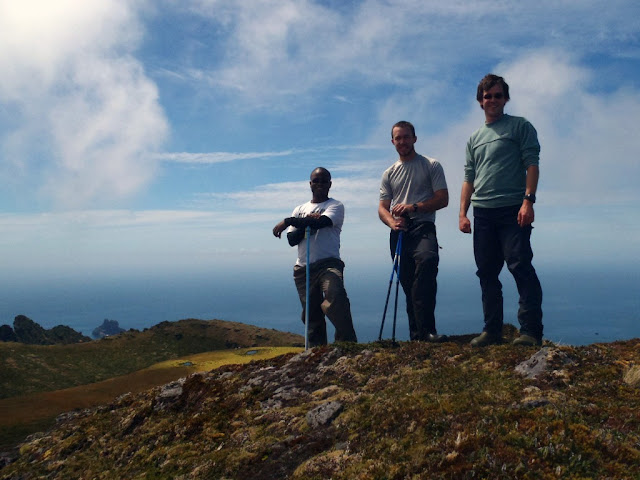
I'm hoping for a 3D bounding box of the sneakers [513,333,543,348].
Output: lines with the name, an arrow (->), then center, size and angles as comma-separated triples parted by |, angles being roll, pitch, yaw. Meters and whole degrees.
sneakers -> 4.213, 2.052, 11.996 | 0.607, 0.272, 0.246 | 9, -5, 26
